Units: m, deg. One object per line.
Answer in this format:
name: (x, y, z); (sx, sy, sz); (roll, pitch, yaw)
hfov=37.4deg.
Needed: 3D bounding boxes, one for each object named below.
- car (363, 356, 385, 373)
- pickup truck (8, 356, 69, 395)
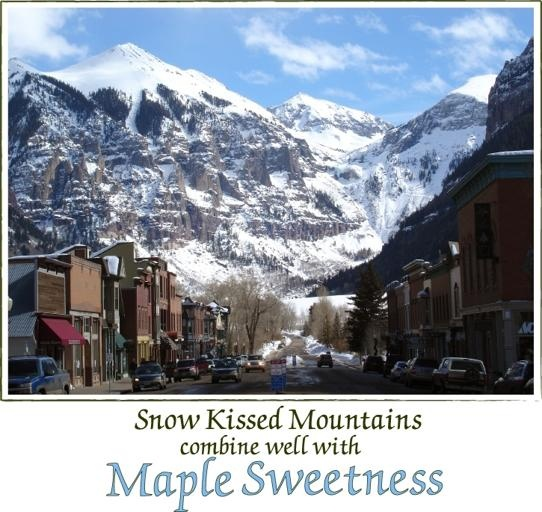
car: (8.823, 9.457, 69.043); (0.987, 1.212, 1.966); (2, 0, 4)
pickup truck: (-8.401, 4.393, 28.601); (1.018, 1.416, 3.958); (1, -1, 6)
